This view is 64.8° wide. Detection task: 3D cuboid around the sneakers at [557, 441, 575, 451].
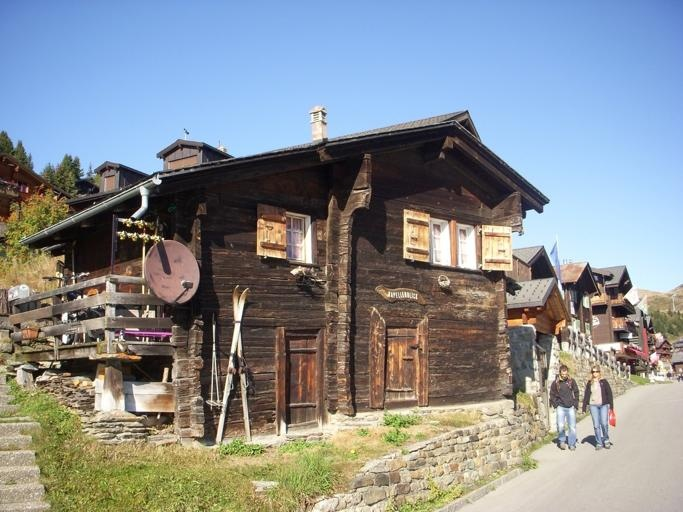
[{"bbox_3d":[7.255,6.118,17.361,0.162,0.232,0.520,0,-22,-4],"label":"sneakers"}]
